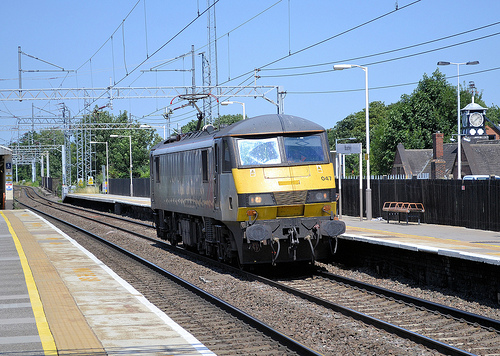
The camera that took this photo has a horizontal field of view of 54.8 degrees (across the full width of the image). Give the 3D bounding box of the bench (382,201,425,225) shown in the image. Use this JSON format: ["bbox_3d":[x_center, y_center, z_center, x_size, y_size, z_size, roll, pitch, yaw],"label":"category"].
[{"bbox_3d":[7.215,1.683,23.676,1.754,0.893,0.807,7,7,-14],"label":"bench"}]
